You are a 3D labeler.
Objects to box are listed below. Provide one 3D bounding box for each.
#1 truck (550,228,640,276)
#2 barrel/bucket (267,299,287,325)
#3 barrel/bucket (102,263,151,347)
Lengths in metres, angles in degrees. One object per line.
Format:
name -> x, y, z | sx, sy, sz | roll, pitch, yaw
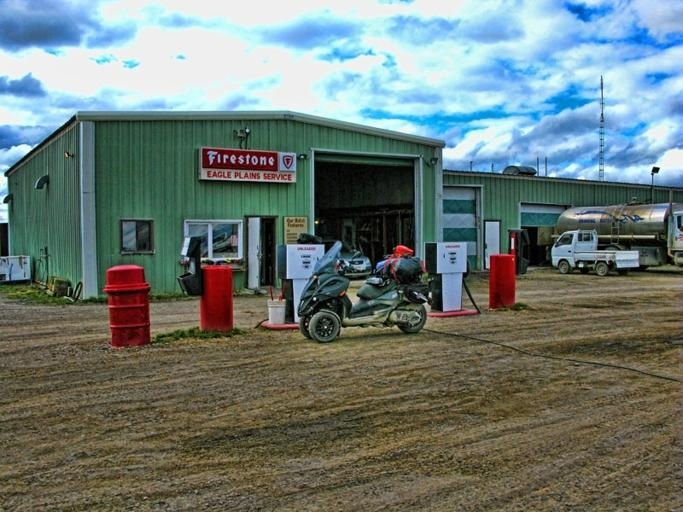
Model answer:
truck -> 9.060, -0.108, 24.997 | 1.441, 1.497, 2.859 | 0, 3, -36
barrel/bucket -> -1.086, 0.944, 11.786 | 0.301, 0.412, 0.342 | -1, 12, -6
barrel/bucket -> -3.089, 0.727, 10.137 | 0.617, 1.129, 0.469 | -4, 13, -18
